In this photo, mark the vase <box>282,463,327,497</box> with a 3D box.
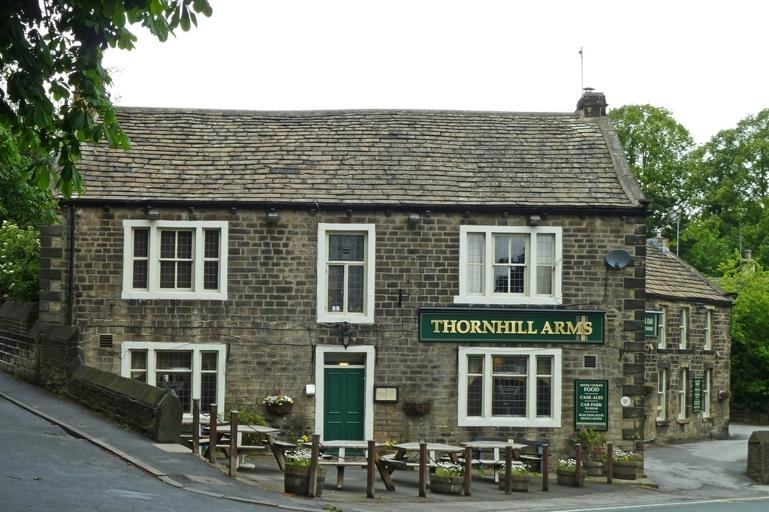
[{"bbox_3d":[-2.619,7.286,50.573,1.278,1.080,0.508,1,-11,0],"label":"vase"}]

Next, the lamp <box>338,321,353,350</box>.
[{"bbox_3d":[-1.371,2.835,55.590,0.518,0.925,0.271,2,-11,-4],"label":"lamp"}]

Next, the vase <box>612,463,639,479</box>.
[{"bbox_3d":[8.519,7.621,54.911,0.592,0.331,0.660,4,-11,-19],"label":"vase"}]

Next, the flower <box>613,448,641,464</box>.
[{"bbox_3d":[8.650,7.138,55.277,0.759,0.386,0.604,9,-7,-35],"label":"flower"}]
